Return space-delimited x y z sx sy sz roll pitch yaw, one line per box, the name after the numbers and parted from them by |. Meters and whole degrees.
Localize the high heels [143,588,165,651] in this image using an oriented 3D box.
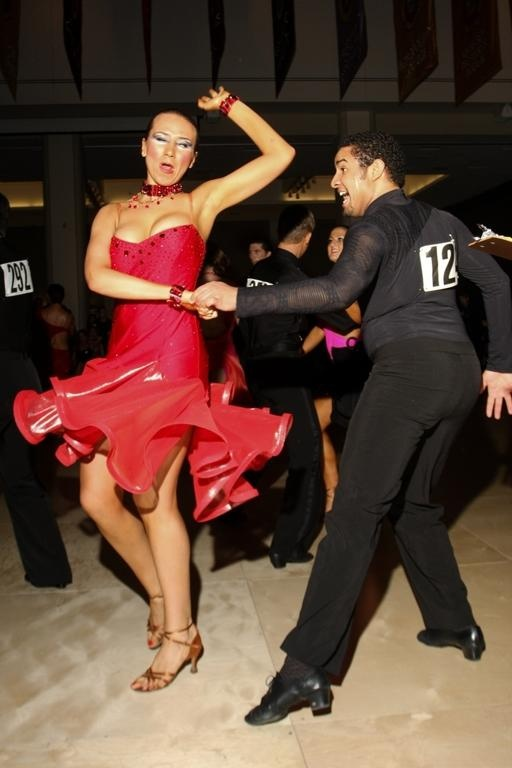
-0.321 0.803 2.089 0.109 0.216 0.071 -2 13 -2 | high heels

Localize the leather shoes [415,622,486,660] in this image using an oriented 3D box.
0.659 0.849 2.081 0.246 0.077 0.108 8 -2 45 | leather shoes

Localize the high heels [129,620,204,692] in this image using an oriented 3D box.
-0.299 0.843 1.893 0.281 0.182 0.107 5 -14 -38 | high heels
